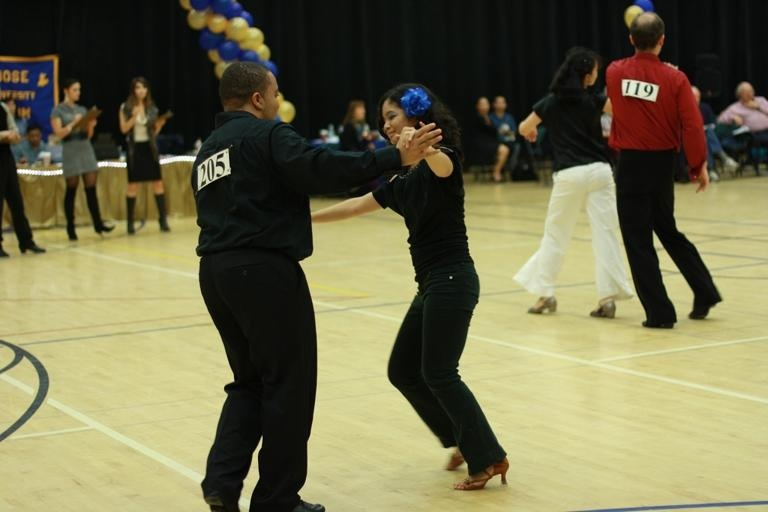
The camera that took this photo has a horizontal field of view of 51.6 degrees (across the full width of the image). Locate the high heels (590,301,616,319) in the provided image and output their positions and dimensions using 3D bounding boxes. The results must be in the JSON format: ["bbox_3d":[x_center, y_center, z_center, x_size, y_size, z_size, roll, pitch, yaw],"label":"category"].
[{"bbox_3d":[1.971,0.484,7.177,0.127,0.108,0.224,-2,4,-19],"label":"high heels"}]

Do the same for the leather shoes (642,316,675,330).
[{"bbox_3d":[2.364,0.572,6.836,0.209,0.083,0.109,-4,2,-2],"label":"leather shoes"}]

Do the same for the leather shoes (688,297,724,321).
[{"bbox_3d":[2.811,0.477,7.012,0.367,0.148,0.138,-19,9,-32],"label":"leather shoes"}]

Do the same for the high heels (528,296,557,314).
[{"bbox_3d":[1.475,0.463,7.340,0.272,0.128,0.133,-1,2,24],"label":"high heels"}]

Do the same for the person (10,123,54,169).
[{"bbox_3d":[-5.871,-1.696,13.286,0.633,0.901,0.518,-2,-1,-34],"label":"person"}]

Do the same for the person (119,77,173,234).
[{"bbox_3d":[-3.660,-1.500,12.052,0.773,2.345,0.634,-9,14,-25],"label":"person"}]

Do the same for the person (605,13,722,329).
[{"bbox_3d":[2.331,-0.709,6.802,0.904,2.617,0.551,3,14,25],"label":"person"}]
